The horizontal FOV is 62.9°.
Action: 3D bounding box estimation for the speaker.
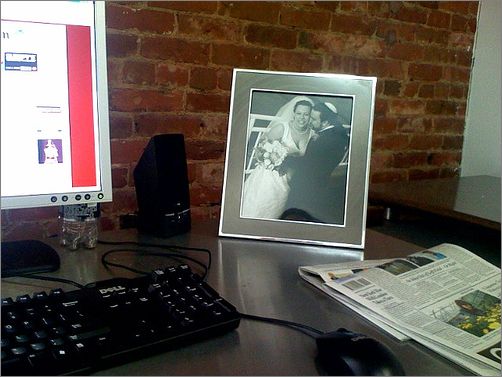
[{"bbox_3d":[-0.230,-0.004,1.048,0.133,0.262,0.075,-3,11,-9],"label":"speaker"}]
